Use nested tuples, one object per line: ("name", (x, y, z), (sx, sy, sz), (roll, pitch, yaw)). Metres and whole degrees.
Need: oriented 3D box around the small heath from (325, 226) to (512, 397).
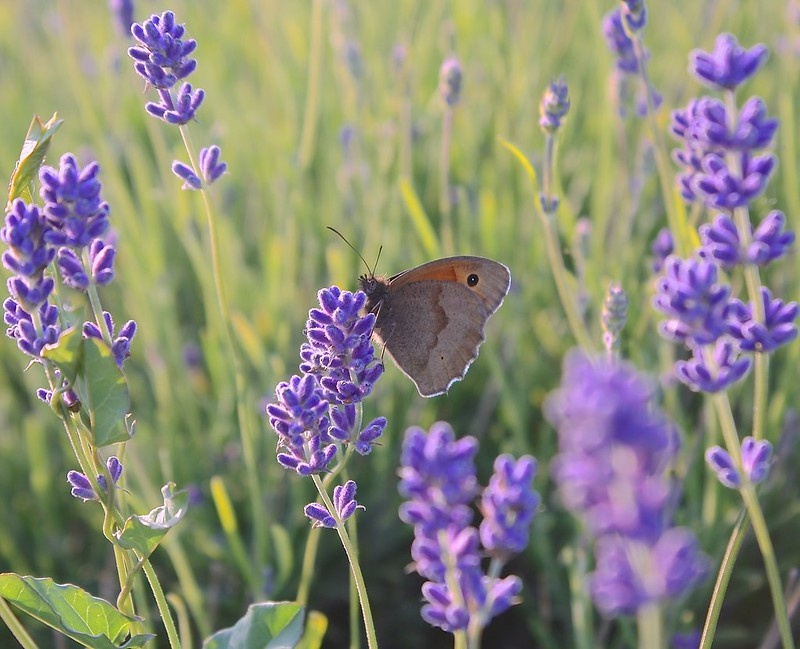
("small heath", (0.035, -0.054, 2.911), (0.456, 0.390, 0.507), (2, -14, 11))
